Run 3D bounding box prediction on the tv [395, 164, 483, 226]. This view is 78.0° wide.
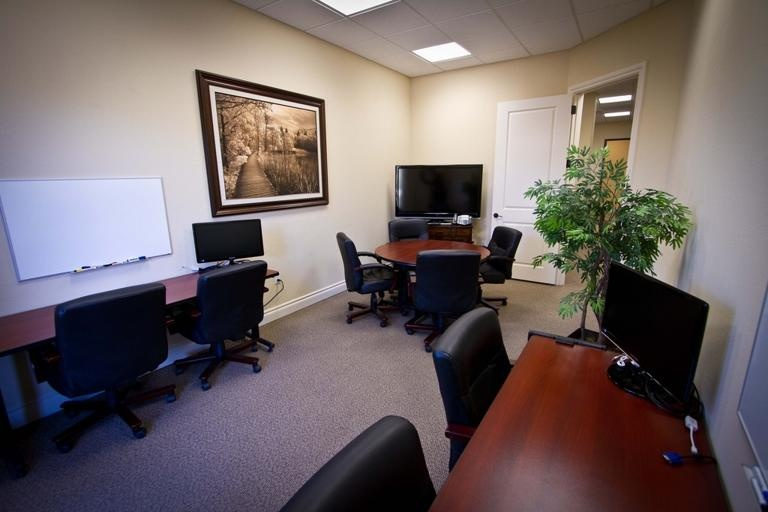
[{"bbox_3d":[0.738,-0.804,6.473,1.209,0.829,0.293,1,14,8],"label":"tv"}]

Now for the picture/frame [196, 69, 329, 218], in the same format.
[{"bbox_3d":[-1.243,-1.154,4.936,0.412,1.256,1.478,-13,-6,41],"label":"picture/frame"}]

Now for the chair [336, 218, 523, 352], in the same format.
[{"bbox_3d":[0.343,0.340,5.467,1.447,0.758,1.449,-1,7,0],"label":"chair"}]

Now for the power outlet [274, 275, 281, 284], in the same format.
[{"bbox_3d":[-1.153,0.255,5.109,0.060,0.045,0.059,-11,25,-43],"label":"power outlet"}]

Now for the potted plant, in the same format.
[{"bbox_3d":[1.566,-0.056,3.738,1.156,1.462,0.899,-8,13,-29],"label":"potted plant"}]

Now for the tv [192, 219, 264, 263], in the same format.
[{"bbox_3d":[-1.443,-0.117,4.442,0.595,0.414,0.160,-7,-10,-19],"label":"tv"}]

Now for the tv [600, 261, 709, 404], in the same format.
[{"bbox_3d":[1.586,0.473,2.784,0.235,0.572,0.665,-1,20,-19],"label":"tv"}]
